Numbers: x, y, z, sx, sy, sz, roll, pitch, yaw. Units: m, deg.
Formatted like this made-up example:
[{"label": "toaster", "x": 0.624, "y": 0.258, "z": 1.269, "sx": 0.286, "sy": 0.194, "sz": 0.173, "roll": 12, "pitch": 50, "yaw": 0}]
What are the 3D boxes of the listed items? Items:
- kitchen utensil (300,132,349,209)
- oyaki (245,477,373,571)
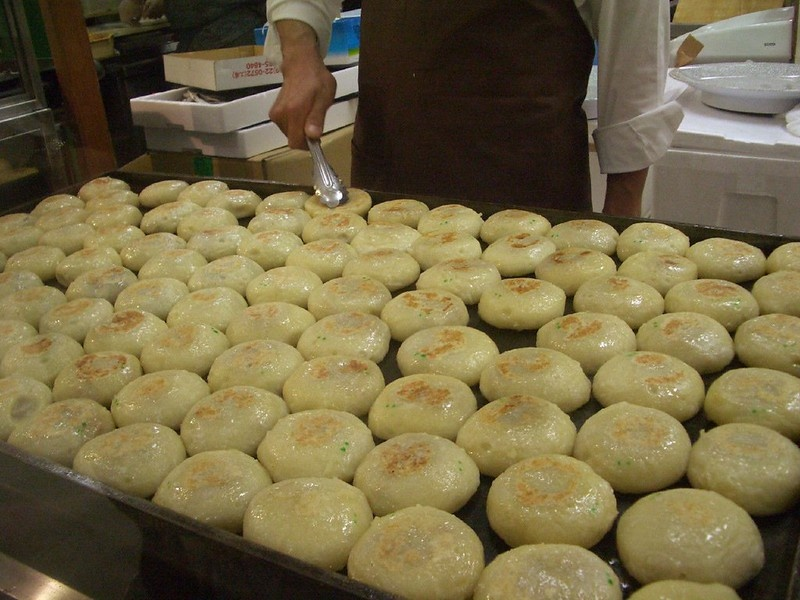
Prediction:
[{"label": "kitchen utensil", "x": -0.320, "y": -0.551, "z": 2.557, "sx": 0.124, "sy": 0.059, "sz": 0.358, "roll": -20, "pitch": 60, "yaw": -10}, {"label": "oyaki", "x": -0.196, "y": 0.470, "z": 1.283, "sx": 0.209, "sy": 0.096, "sz": 0.203, "roll": -16, "pitch": 31, "yaw": -37}]
